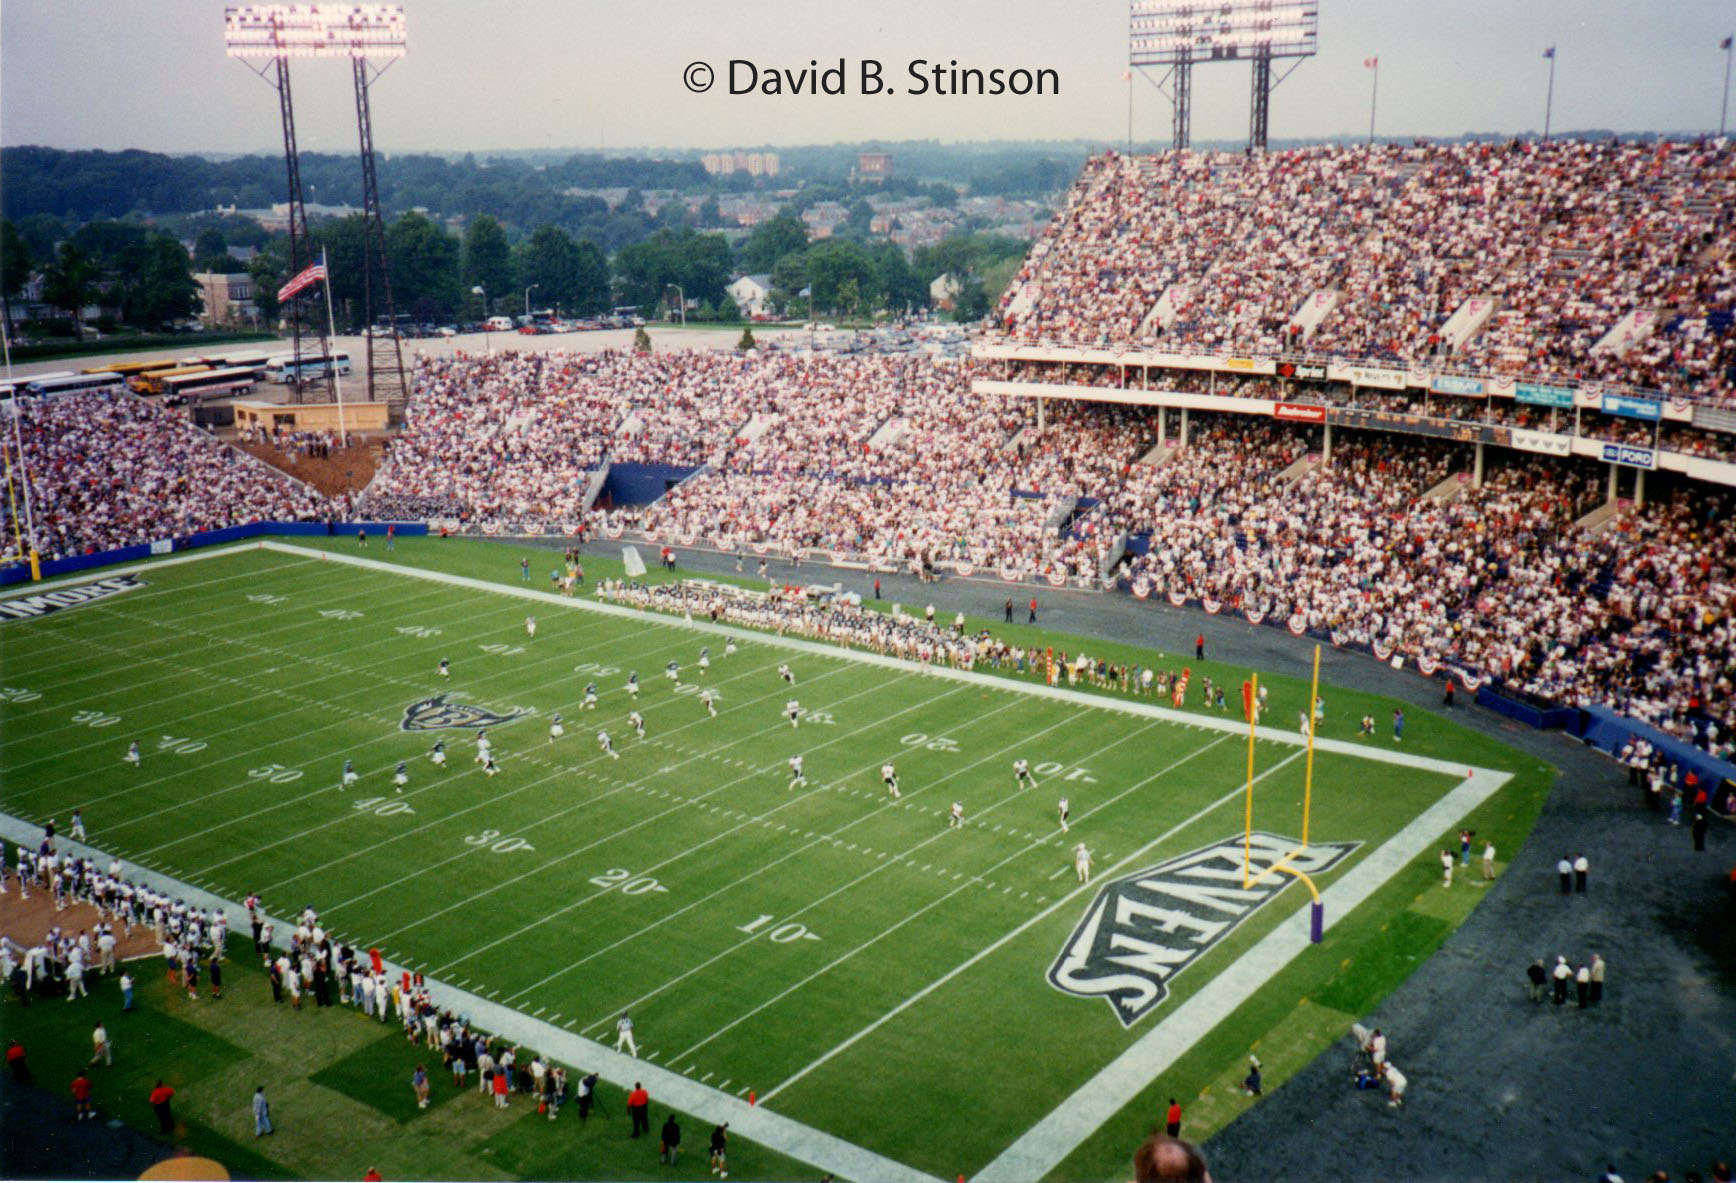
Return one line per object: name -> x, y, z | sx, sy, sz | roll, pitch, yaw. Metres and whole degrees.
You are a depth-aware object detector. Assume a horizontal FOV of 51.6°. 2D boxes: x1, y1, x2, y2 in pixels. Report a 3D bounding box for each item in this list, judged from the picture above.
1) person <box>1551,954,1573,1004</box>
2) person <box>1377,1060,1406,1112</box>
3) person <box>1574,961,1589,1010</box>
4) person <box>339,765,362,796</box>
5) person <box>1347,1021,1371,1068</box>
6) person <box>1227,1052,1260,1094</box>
person -> 19.508, 10.762, 50.391 | 0.516, 1.095, 1.472 | 4, 15, 20
person -> 13.798, 12.960, 47.298 | 0.694, 0.376, 0.978 | 13, 40, -15
person -> 19.913, 11.007, 49.994 | 0.427, 0.886, 0.713 | 4, 15, 19
person -> -17.603, 6.236, 60.981 | 0.690, 0.689, 1.316 | -5, 15, -17
person -> 13.267, 12.177, 48.346 | 0.372, 0.782, 1.220 | 5, -3, 11
person -> 10.065, 12.640, 47.662 | 0.742, 1.353, 0.701 | 8, 34, 21
